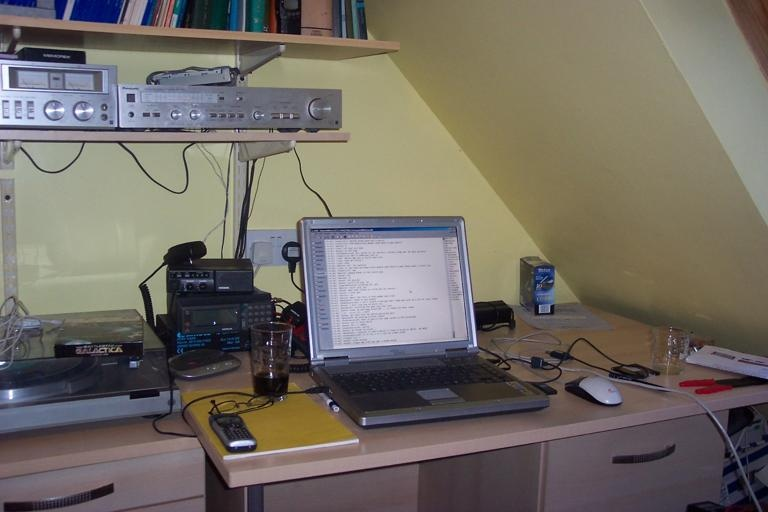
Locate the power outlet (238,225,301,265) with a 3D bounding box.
[{"bbox_3d":[-0.420,-0.046,2.208,0.247,0.163,0.131,1,0,-32],"label":"power outlet"}]

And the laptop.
[{"bbox_3d":[0.061,0.169,1.842,0.783,0.508,0.453,0,-5,7],"label":"laptop"}]

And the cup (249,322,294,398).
[{"bbox_3d":[-0.308,0.270,1.585,0.114,0.184,0.104,1,2,0],"label":"cup"}]

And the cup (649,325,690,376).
[{"bbox_3d":[0.897,0.292,1.839,0.127,0.158,0.147,1,1,6],"label":"cup"}]

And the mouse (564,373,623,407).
[{"bbox_3d":[0.584,0.352,1.609,0.069,0.043,0.119,-2,10,-27],"label":"mouse"}]
